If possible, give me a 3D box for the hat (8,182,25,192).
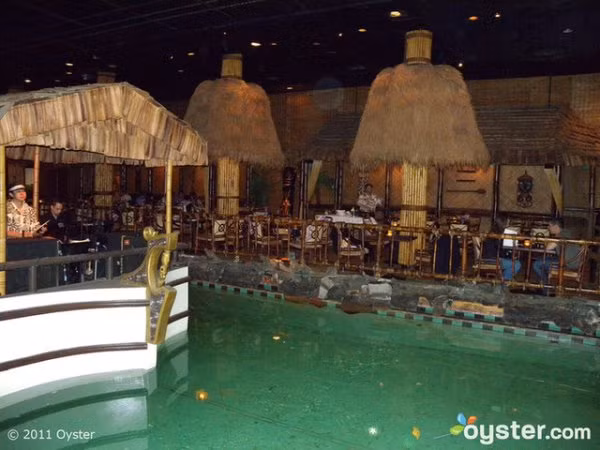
[{"bbox_3d":[-4.197,-0.562,7.224,0.181,0.170,0.364,-8,16,-35],"label":"hat"}]

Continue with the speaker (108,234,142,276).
[{"bbox_3d":[-2.622,0.416,7.385,0.569,0.481,1.053,-4,14,-22],"label":"speaker"}]

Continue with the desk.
[{"bbox_3d":[-3.396,0.444,6.295,0.588,0.811,0.811,-1,-4,42],"label":"desk"}]
